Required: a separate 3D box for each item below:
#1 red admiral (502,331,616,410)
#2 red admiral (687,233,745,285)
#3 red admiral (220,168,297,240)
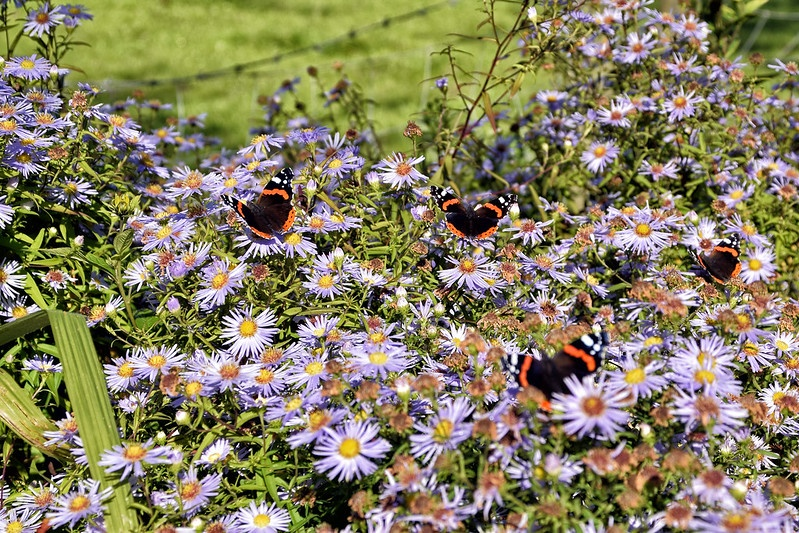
[{"bbox_3d":[0.682,0.425,4.241,0.517,0.212,0.278,-31,90,7],"label":"red admiral"},{"bbox_3d":[1.584,-0.041,4.891,0.304,0.213,0.206,-14,100,-12],"label":"red admiral"},{"bbox_3d":[-0.733,-0.339,5.004,0.331,0.494,0.162,-12,90,-29],"label":"red admiral"}]
